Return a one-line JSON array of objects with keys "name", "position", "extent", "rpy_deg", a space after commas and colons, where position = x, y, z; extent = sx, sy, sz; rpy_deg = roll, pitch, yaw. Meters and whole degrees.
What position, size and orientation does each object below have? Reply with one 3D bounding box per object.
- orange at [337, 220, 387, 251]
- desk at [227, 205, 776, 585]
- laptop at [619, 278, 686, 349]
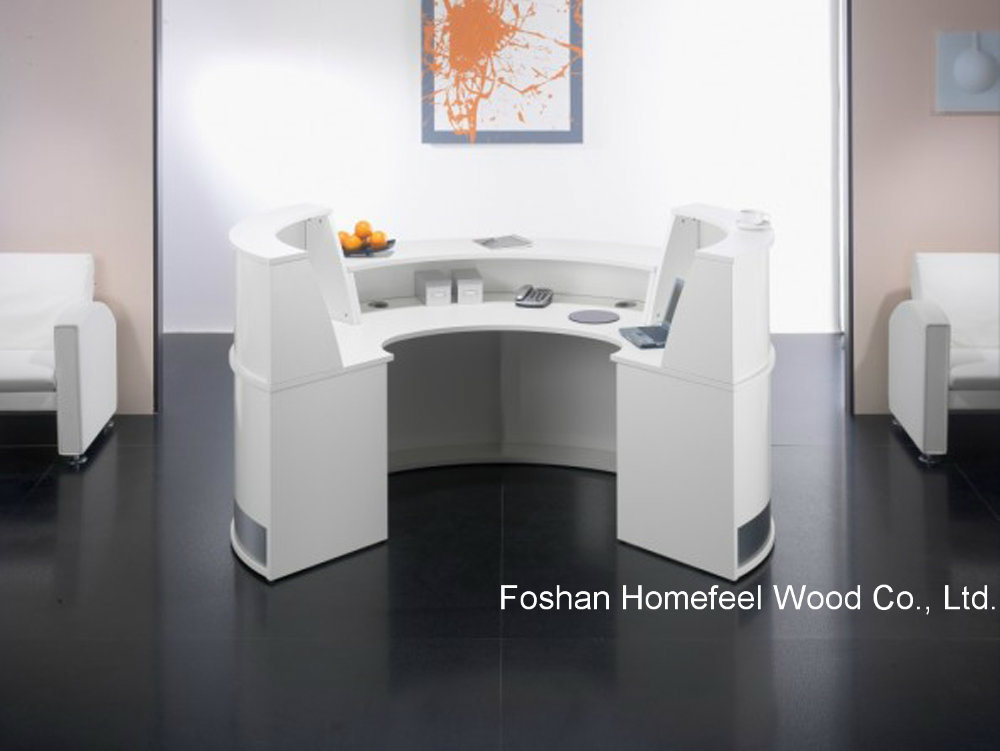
[{"name": "orange", "position": [-0.857, -0.786, 4.790], "extent": [0.270, 0.171, 0.316], "rpy_deg": [-7, 9, -37]}, {"name": "desk", "position": [0.017, -0.024, 4.299], "extent": [2.609, 1.708, 1.402], "rpy_deg": [-1, 12, 1]}, {"name": "laptop", "position": [0.785, -0.300, 4.182], "extent": [0.324, 0.327, 0.405], "rpy_deg": [-1, 15, -4]}]
